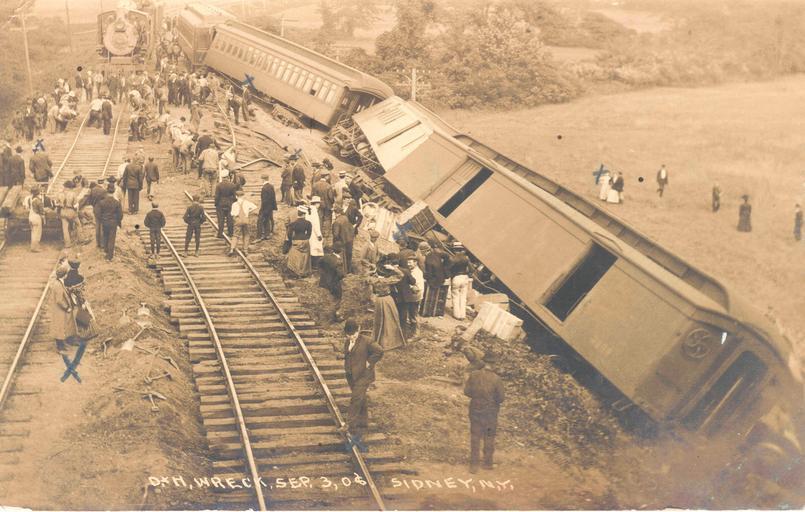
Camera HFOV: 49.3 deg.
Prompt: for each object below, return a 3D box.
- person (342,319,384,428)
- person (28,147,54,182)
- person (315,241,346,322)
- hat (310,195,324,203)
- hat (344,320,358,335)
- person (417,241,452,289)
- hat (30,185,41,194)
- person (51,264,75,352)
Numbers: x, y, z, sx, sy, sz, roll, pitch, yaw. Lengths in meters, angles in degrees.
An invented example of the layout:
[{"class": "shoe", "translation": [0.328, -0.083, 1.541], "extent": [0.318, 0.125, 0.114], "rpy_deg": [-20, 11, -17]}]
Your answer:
[{"class": "person", "translation": [-1.269, 3.563, 25.057], "extent": [1.067, 3.604, 0.595], "rpy_deg": [6, 21, -3]}, {"class": "person", "translation": [-14.302, -3.503, 34.607], "extent": [0.711, 1.133, 0.480], "rpy_deg": [-1, 22, -20]}, {"class": "person", "translation": [-2.384, 0.798, 29.030], "extent": [0.768, 2.554, 0.879], "rpy_deg": [5, 21, -5]}, {"class": "hat", "translation": [-2.913, -1.942, 29.855], "extent": [0.293, 0.091, 0.290], "rpy_deg": [0, 29, -40]}, {"class": "hat", "translation": [-1.446, 1.942, 24.673], "extent": [0.332, 0.347, 0.400], "rpy_deg": [8, 31, 0]}, {"class": "person", "translation": [1.053, 0.349, 29.864], "extent": [0.702, 1.266, 1.186], "rpy_deg": [-8, 28, -1]}, {"class": "hat", "translation": [-12.873, -2.370, 30.630], "extent": [0.296, 0.385, 0.504], "rpy_deg": [-5, 23, -27]}, {"class": "person", "translation": [-10.090, 1.450, 25.978], "extent": [0.699, 2.898, 0.591], "rpy_deg": [-2, 23, -22]}]
